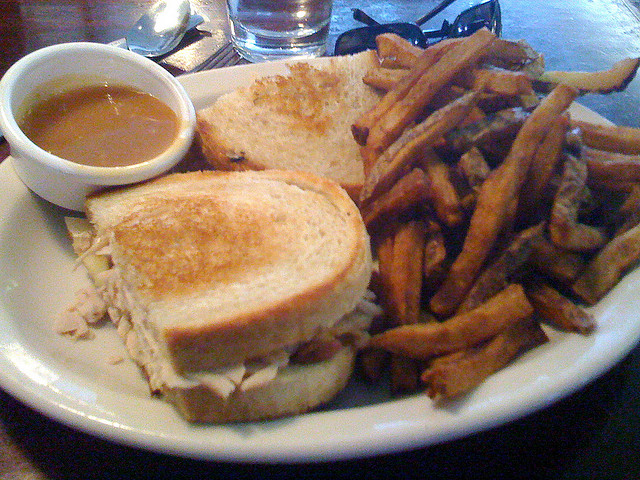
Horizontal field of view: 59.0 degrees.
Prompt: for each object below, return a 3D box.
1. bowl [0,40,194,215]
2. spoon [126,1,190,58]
[{"bbox_3d":[-0.709,-0.352,1.853,0.611,0.211,0.576,9,53,-12],"label":"bowl"},{"bbox_3d":[-0.701,-0.927,2.470,0.199,0.074,0.427,10,55,5],"label":"spoon"}]
